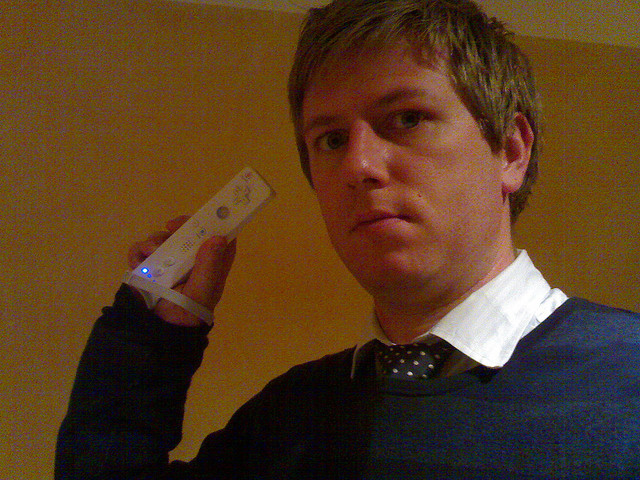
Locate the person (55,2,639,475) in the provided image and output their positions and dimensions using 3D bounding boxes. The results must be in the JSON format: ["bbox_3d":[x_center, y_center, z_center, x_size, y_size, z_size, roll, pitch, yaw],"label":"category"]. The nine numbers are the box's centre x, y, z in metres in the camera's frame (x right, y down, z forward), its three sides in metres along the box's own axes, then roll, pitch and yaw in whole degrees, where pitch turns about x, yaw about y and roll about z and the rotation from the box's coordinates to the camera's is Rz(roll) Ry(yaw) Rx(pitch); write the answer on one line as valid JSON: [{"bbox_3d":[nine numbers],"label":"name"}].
[{"bbox_3d":[0.067,0.011,1.141,0.916,0.378,0.828,7,66,13],"label":"person"}]

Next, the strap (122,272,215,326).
[{"bbox_3d":[-0.262,0.102,1.221,0.158,0.070,0.021,20,69,18],"label":"strap"}]

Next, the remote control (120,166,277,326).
[{"bbox_3d":[-0.210,0.001,1.261,0.179,0.108,0.311,42,97,9],"label":"remote control"}]
